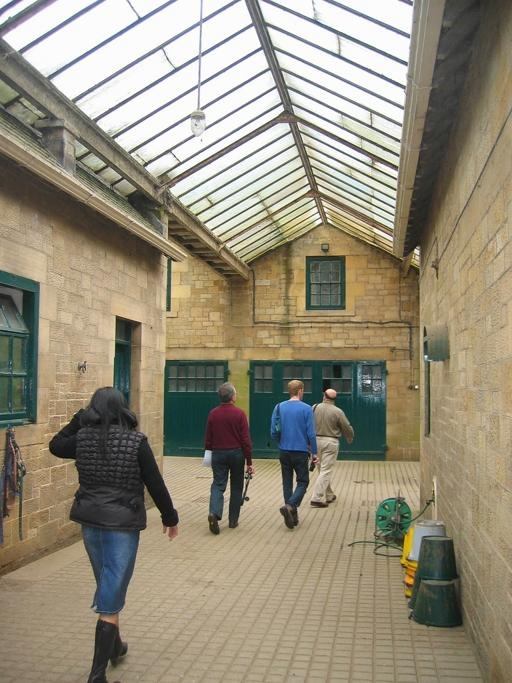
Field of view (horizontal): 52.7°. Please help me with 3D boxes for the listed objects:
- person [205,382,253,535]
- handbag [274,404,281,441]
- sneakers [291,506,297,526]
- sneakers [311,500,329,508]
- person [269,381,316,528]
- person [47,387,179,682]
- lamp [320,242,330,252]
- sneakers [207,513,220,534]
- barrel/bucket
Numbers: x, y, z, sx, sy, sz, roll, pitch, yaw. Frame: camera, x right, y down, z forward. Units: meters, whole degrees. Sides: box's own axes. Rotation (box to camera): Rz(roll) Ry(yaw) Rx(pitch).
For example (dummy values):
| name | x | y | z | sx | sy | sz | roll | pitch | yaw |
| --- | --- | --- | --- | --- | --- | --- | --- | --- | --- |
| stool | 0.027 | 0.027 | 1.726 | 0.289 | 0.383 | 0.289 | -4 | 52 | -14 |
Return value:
| name | x | y | z | sx | sy | sz | roll | pitch | yaw |
| --- | --- | --- | --- | --- | --- | --- | --- | --- | --- |
| person | -0.331 | 1.367 | 6.146 | 0.560 | 1.751 | 0.596 | 1 | -9 | -4 |
| handbag | 0.268 | 1.023 | 6.496 | 0.077 | 0.329 | 0.225 | 0 | -7 | -6 |
| sneakers | 0.465 | 2.096 | 6.211 | 0.070 | 0.226 | 0.153 | -3 | -1 | 9 |
| sneakers | 0.928 | 2.415 | 7.724 | 0.276 | 0.124 | 0.096 | 4 | -2 | -9 |
| person | 0.459 | 1.375 | 6.467 | 0.545 | 1.825 | 0.768 | -1 | -9 | 4 |
| person | -0.668 | 0.854 | 2.374 | 0.598 | 1.289 | 0.346 | 2 | -9 | -11 |
| lamp | 1.875 | -2.569 | 14.178 | 0.245 | 0.359 | 0.187 | 0 | 0 | 3 |
| sneakers | -0.507 | 2.081 | 5.947 | 0.110 | 0.314 | 0.130 | 0 | 33 | 15 |
| barrel/bucket | 1.122 | 1.508 | 3.271 | 0.304 | 0.554 | 0.358 | -2 | -9 | 15 |
